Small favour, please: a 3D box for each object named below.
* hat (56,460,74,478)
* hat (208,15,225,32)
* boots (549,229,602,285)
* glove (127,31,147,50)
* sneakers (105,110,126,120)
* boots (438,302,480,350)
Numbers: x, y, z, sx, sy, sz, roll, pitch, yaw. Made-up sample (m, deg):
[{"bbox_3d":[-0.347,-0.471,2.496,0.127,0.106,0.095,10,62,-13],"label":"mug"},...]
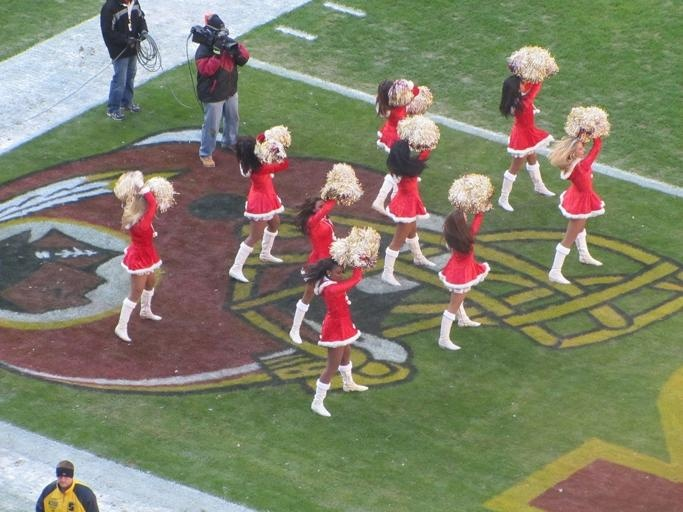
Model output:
[{"bbox_3d":[-3.342,2.579,15.296,0.261,0.146,0.225,1,11,-8],"label":"hat"},{"bbox_3d":[-2.113,-3.890,21.056,0.287,0.268,0.319,-4,42,-9],"label":"hat"},{"bbox_3d":[3.674,0.047,19.868,0.875,0.641,0.383,-28,46,-27],"label":"boots"},{"bbox_3d":[-3.596,-3.776,22.097,0.170,0.390,0.260,31,33,-28],"label":"glove"},{"bbox_3d":[-4.034,-2.533,22.667,0.391,0.133,0.122,7,53,13],"label":"sneakers"},{"bbox_3d":[1.723,1.063,18.619,0.323,0.526,0.674,22,44,35],"label":"boots"}]
